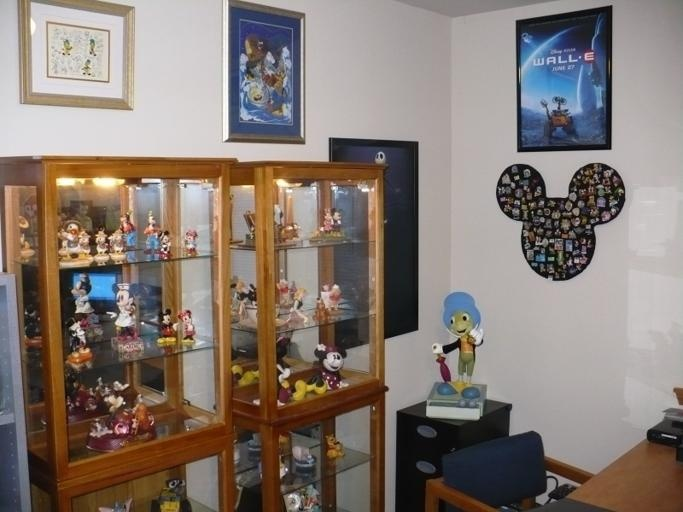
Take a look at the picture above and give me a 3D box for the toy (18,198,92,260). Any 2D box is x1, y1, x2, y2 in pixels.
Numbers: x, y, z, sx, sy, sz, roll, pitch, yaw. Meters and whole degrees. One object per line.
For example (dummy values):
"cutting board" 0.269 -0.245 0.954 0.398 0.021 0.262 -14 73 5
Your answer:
"toy" -1.248 -0.123 2.347 0.086 0.248 0.250 1 2 39

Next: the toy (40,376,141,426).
"toy" -1.156 0.650 2.555 0.128 0.174 0.430 9 5 32

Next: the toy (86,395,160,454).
"toy" -1.034 0.784 2.574 0.161 0.206 0.291 4 2 40

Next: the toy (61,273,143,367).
"toy" -1.118 0.293 2.504 0.201 0.413 0.405 4 6 37
